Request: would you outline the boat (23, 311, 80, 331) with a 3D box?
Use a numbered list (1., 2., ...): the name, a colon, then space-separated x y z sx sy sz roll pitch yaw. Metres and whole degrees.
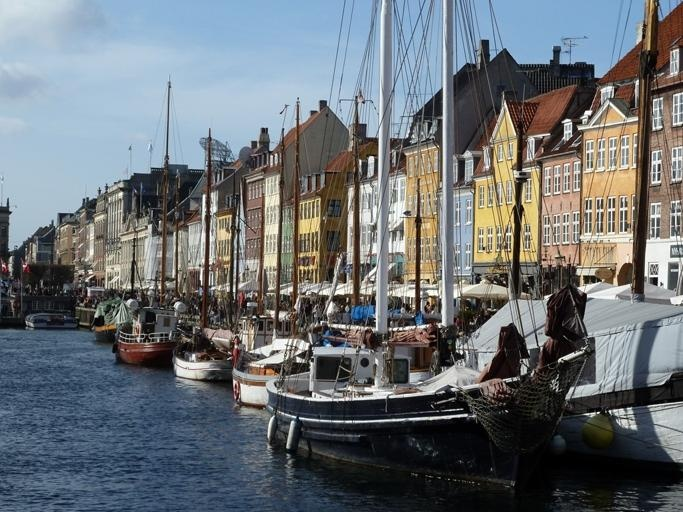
1. boat: -35.008 8.353 134.513 6.015 1.858 3.852 -11 5 -4
